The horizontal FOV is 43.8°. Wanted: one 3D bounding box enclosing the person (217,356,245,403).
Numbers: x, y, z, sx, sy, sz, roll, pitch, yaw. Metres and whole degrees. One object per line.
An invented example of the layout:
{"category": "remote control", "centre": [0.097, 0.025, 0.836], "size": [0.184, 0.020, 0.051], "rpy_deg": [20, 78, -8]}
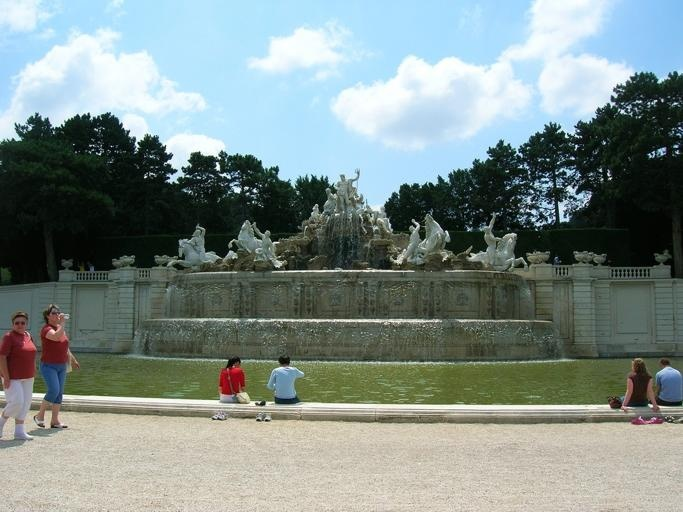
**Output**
{"category": "person", "centre": [-1.935, 2.159, 15.086], "size": [0.423, 0.780, 0.612], "rpy_deg": [1, 2, -9]}

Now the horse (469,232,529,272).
{"category": "horse", "centre": [5.697, -0.122, 31.918], "size": [2.334, 1.408, 0.944], "rpy_deg": [-2, 1, 21]}

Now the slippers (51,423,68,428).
{"category": "slippers", "centre": [-4.506, 2.679, 13.588], "size": [0.183, 0.044, 0.085], "rpy_deg": [-3, -6, 14]}

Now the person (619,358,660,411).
{"category": "person", "centre": [5.147, 2.127, 14.916], "size": [0.595, 0.823, 1.293], "rpy_deg": [4, 6, 7]}

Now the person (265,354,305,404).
{"category": "person", "centre": [-0.982, 2.189, 15.152], "size": [0.621, 0.871, 0.900], "rpy_deg": [-1, -6, 5]}

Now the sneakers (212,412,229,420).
{"category": "sneakers", "centre": [-2.037, 2.674, 14.338], "size": [0.261, 0.113, 0.111], "rpy_deg": [1, -19, 15]}

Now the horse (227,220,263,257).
{"category": "horse", "centre": [-3.406, -0.724, 31.251], "size": [1.362, 1.285, 0.496], "rpy_deg": [3, 5, -26]}

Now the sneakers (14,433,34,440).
{"category": "sneakers", "centre": [-4.809, 2.721, 12.959], "size": [0.308, 0.129, 0.103], "rpy_deg": [0, -3, -1]}

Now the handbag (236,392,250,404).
{"category": "handbag", "centre": [-1.712, 2.434, 14.813], "size": [0.159, 0.155, 0.293], "rpy_deg": [0, 2, -32]}

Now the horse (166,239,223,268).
{"category": "horse", "centre": [-5.828, -0.058, 32.903], "size": [1.995, 1.170, 1.211], "rpy_deg": [0, -10, 3]}

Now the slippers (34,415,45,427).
{"category": "slippers", "centre": [-4.844, 2.616, 13.619], "size": [0.252, 0.067, 0.098], "rpy_deg": [26, 7, 38]}
